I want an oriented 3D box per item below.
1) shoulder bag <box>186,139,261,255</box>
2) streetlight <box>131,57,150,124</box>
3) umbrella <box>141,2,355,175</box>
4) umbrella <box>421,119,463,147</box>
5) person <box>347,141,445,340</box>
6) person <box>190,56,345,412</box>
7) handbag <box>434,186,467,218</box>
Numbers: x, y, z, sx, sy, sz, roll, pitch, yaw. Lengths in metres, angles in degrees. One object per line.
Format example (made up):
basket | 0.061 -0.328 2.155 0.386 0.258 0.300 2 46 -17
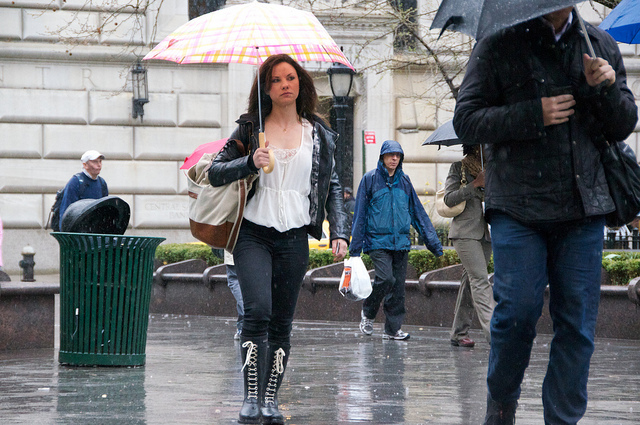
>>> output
shoulder bag | -1.084 -0.161 13.789 0.924 1.200 0.436 -1 0 34
streetlight | -3.934 -2.589 28.271 0.377 1.274 0.950 -1 0 -7
umbrella | -0.817 -1.510 14.895 2.111 1.605 2.046 -3 -5 -10
umbrella | 1.717 -1.057 18.473 0.555 0.187 0.546 -7 7 5
person | 0.995 0.413 18.883 1.197 2.829 0.643 -1 0 1
person | -0.564 0.221 13.755 1.556 3.735 0.683 -1 0 -2
handbag | 1.759 -0.130 17.672 0.271 0.476 0.470 6 17 -33
